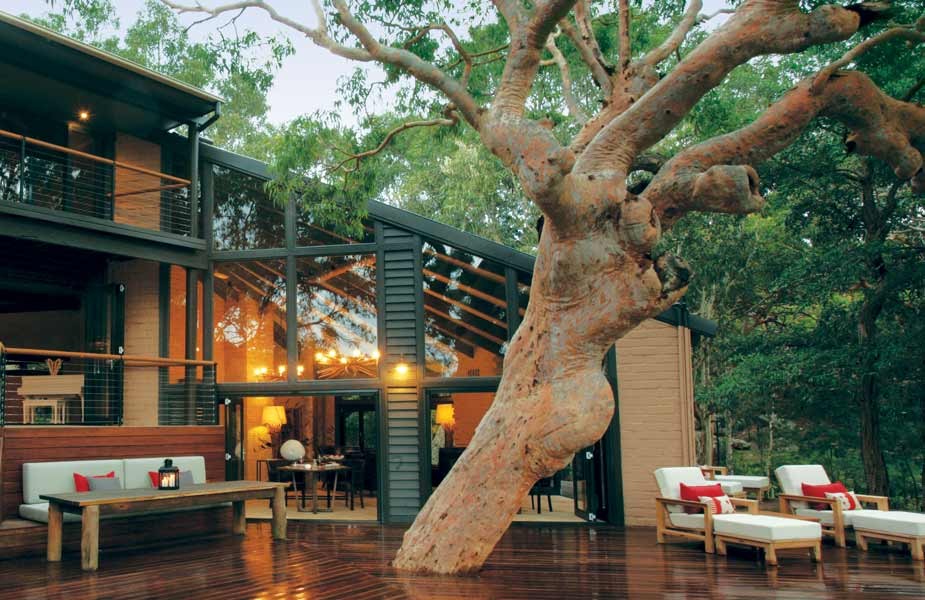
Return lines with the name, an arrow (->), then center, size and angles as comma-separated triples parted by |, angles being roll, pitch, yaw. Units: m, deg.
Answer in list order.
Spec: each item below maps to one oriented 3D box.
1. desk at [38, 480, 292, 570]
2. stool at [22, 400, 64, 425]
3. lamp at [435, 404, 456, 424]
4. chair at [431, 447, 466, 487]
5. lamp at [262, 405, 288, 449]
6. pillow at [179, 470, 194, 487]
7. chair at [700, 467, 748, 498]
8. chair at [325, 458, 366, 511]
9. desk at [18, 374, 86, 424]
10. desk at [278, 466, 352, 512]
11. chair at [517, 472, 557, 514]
desk -> -5.252, 3.910, 16.515 | 4.000, 1.184, 1.410 | 1, -2, -37
stool -> -8.917, 2.367, 19.638 | 0.820, 0.490, 0.803 | 0, -4, 4
lamp -> -0.435, 3.018, 24.420 | 0.526, 0.390, 0.518 | -4, -7, 11
chair -> -0.366, 3.663, 20.389 | 0.617, 0.775, 0.599 | 0, -1, 0
lamp -> -4.616, 2.982, 22.448 | 0.621, 0.916, 0.594 | -10, 10, -37
pillow -> -5.235, 3.386, 17.551 | 0.265, 0.327, 0.279 | 11, -25, -36
chair -> 5.209, 3.697, 18.784 | 0.803, 0.628, 1.033 | 3, -7, -25
chair -> -2.631, 4.210, 21.166 | 0.861, 0.975, 0.843 | 3, -7, -33
desk -> -8.701, 2.058, 19.347 | 1.369, 0.947, 0.780 | 1, 1, -7
desk -> -3.464, 4.383, 21.026 | 1.473, 0.827, 1.457 | -10, -11, -10
chair -> 1.736, 4.110, 19.800 | 0.641, 0.767, 1.125 | 0, -2, 4
